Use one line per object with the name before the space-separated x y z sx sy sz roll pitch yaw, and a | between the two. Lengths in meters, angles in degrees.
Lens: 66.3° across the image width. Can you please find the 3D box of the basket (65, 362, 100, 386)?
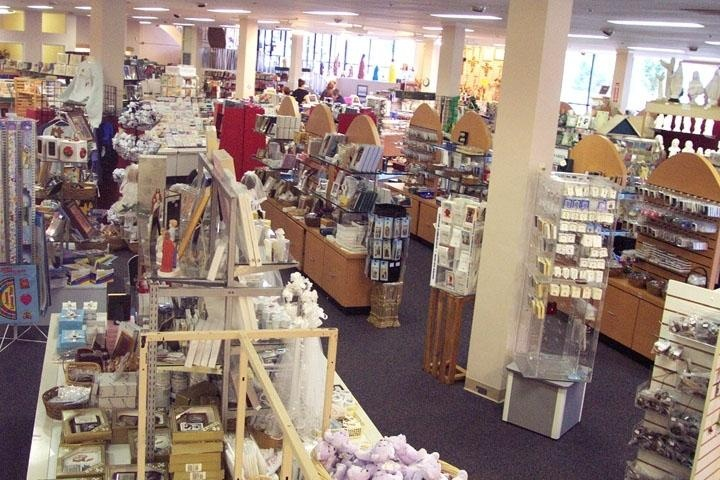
basket | -2.796 1.347 5.509 0.276 0.130 0.208 8 40 -14

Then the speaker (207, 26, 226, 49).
speaker | -7.099 -9.931 26.943 0.983 1.053 0.533 4 21 31

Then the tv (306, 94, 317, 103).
tv | -1.800 -5.161 20.212 0.508 0.220 0.515 0 30 -12
